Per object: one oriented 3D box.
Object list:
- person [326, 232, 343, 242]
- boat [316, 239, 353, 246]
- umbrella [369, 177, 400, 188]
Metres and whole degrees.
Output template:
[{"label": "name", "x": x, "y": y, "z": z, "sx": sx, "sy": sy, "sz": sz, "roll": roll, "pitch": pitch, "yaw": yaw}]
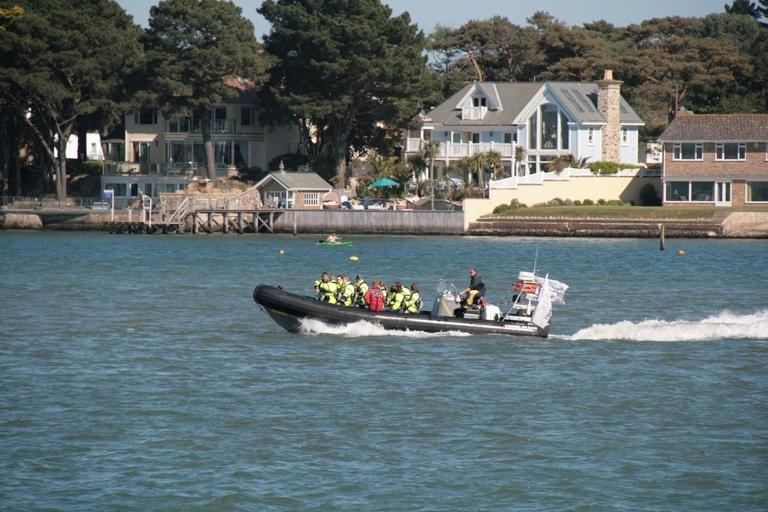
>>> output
[{"label": "person", "x": -4.039, "y": -1.562, "z": 146.953, "sx": 0.768, "sy": 0.532, "sz": 1.130, "roll": 0, "pitch": 3, "yaw": -22}, {"label": "boat", "x": -3.924, "y": -1.052, "z": 146.037, "sx": 2.787, "sy": 0.430, "sz": 0.839, "roll": 2, "pitch": 1, "yaw": 8}, {"label": "umbrella", "x": 0.107, "y": -6.588, "z": 157.420, "sx": 2.445, "sy": 0.952, "sz": 4.267, "roll": -1, "pitch": 2, "yaw": 0}]
